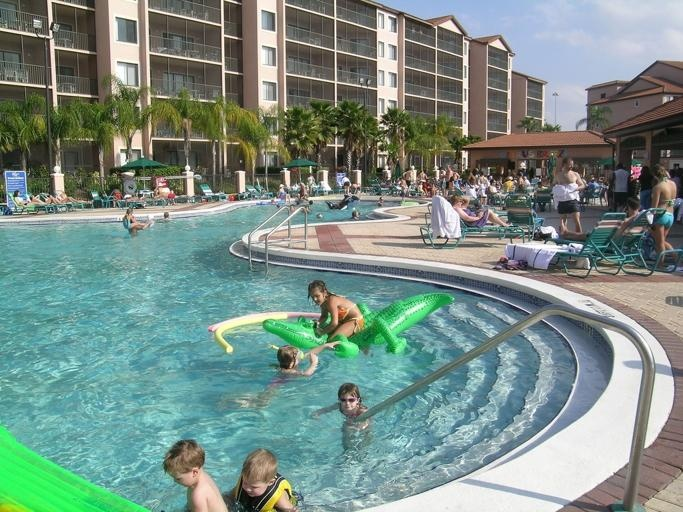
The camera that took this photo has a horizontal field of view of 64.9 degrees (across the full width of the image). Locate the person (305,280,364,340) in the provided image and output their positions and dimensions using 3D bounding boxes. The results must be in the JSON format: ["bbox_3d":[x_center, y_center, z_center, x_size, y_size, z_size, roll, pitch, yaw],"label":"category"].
[{"bbox_3d":[-0.102,0.715,7.345,0.807,0.791,0.582,-5,14,3],"label":"person"}]

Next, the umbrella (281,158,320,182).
[{"bbox_3d":[-2.799,-6.006,39.517,2.467,1.125,2.421,-8,21,-19],"label":"umbrella"}]

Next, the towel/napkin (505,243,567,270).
[{"bbox_3d":[3.973,-0.051,10.743,0.733,0.182,0.709,-15,21,-35],"label":"towel/napkin"}]

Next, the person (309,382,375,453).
[{"bbox_3d":[0.143,1.631,5.534,0.819,0.878,0.531,-1,-13,11],"label":"person"}]

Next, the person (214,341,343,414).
[{"bbox_3d":[-0.714,1.429,6.673,1.570,0.467,0.402,-19,15,-30],"label":"person"}]

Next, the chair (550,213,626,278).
[{"bbox_3d":[4.795,-0.189,10.448,0.897,0.982,1.643,-2,6,-9],"label":"chair"}]

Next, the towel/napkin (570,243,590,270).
[{"bbox_3d":[4.562,0.005,10.416,0.375,0.459,0.471,3,0,7],"label":"towel/napkin"}]

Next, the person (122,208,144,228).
[{"bbox_3d":[-7.692,-1.341,19.617,0.503,0.762,0.780,-10,15,-31],"label":"person"}]
